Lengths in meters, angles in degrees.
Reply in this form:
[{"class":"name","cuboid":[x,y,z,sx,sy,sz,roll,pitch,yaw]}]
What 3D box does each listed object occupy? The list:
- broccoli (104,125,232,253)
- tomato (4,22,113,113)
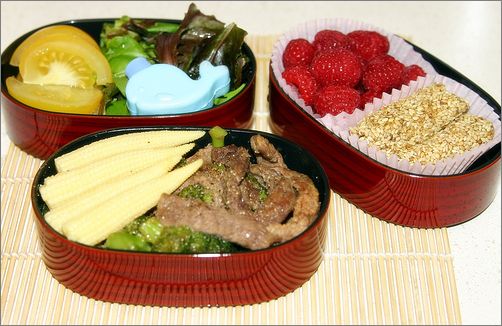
[{"class":"broccoli","cuboid":[-0.301,0.122,1.709,0.235,0.150,0.445,10,75,4]},{"class":"tomato","cuboid":[-0.876,-0.405,2.013,0.400,0.155,0.426,11,79,-1]}]
